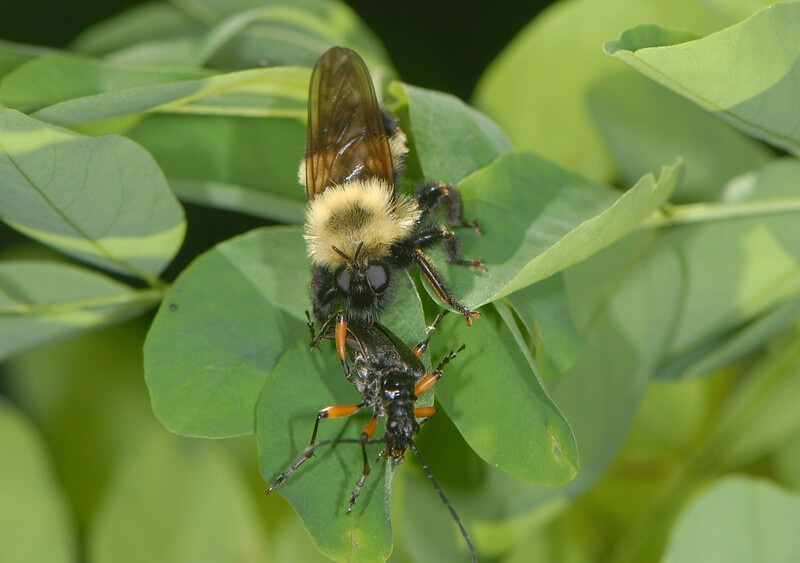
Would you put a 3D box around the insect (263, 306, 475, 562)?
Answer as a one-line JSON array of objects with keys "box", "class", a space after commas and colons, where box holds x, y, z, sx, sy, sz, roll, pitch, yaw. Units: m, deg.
[{"box": [-0.015, 0.214, 1.497, 0.378, 0.139, 0.506, 9, 60, -18], "class": "insect"}]
